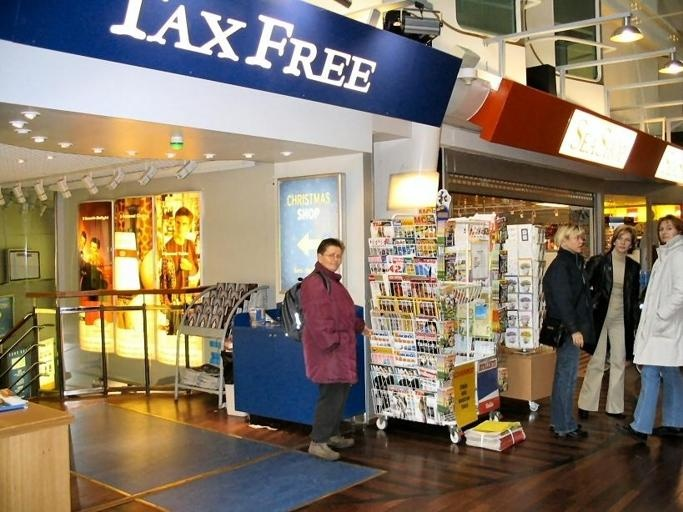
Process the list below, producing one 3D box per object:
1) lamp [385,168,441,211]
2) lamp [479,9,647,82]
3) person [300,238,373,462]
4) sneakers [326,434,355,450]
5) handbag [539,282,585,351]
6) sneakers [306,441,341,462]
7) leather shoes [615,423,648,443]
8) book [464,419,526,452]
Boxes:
[{"bbox_3d":[0.791,-0.726,5.969,0.737,0.551,0.415,1,4,19],"label":"lamp"},{"bbox_3d":[2.722,-2.552,6.650,1.766,0.745,0.498,6,22,30],"label":"lamp"},{"bbox_3d":[-0.091,0.846,4.770,0.495,1.993,0.616,-1,1,16],"label":"person"},{"bbox_3d":[-0.001,1.779,5.114,0.300,0.134,0.103,-1,6,-11],"label":"sneakers"},{"bbox_3d":[2.069,0.561,4.941,0.310,0.570,0.579,-7,18,2],"label":"handbag"},{"bbox_3d":[-0.166,1.779,4.884,0.325,0.148,0.119,1,0,32],"label":"sneakers"},{"bbox_3d":[2.772,1.697,5.092,0.091,0.117,0.253,-6,20,-38],"label":"leather shoes"},{"bbox_3d":[1.414,1.710,5.036,0.335,0.126,0.288,-4,0,37],"label":"book"}]
